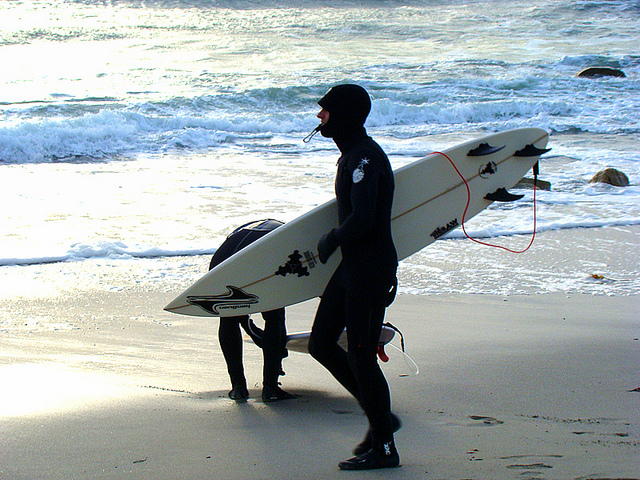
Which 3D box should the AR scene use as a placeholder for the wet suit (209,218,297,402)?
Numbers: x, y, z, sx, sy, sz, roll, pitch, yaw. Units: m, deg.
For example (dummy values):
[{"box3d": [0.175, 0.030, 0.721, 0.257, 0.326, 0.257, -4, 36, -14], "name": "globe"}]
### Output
[{"box3d": [-1.255, 1.292, 20.851, 1.278, 3.238, 1.182, -2, 12, -19], "name": "wet suit"}]
